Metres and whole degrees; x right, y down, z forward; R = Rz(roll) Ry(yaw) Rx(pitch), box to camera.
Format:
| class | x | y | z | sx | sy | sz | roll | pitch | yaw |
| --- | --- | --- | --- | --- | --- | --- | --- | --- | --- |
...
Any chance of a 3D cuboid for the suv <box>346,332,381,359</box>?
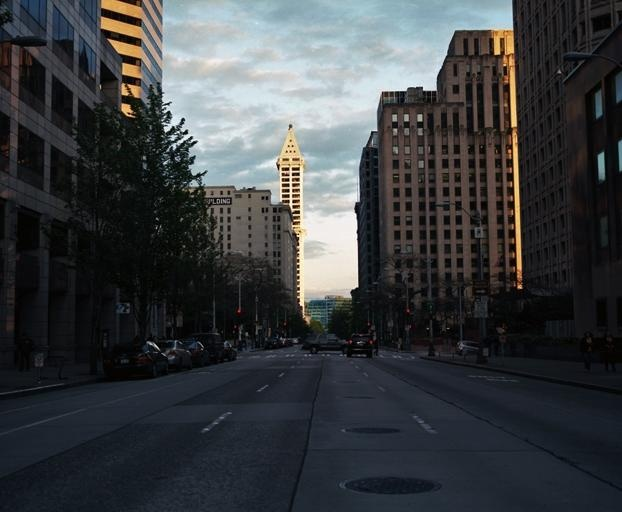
| class | x | y | z | sx | sy | sz | roll | pitch | yaw |
| --- | --- | --- | --- | --- | --- | --- | --- | --- | --- |
| suv | 3.845 | 6.977 | 59.786 | 1.473 | 1.494 | 3.236 | -1 | -10 | -1 |

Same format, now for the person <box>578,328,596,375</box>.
| class | x | y | z | sx | sy | sz | roll | pitch | yaw |
| --- | --- | --- | --- | --- | --- | --- | --- | --- | --- |
| person | 11.189 | 3.858 | 30.809 | 0.449 | 1.581 | 2.551 | -5 | -11 | 19 |
